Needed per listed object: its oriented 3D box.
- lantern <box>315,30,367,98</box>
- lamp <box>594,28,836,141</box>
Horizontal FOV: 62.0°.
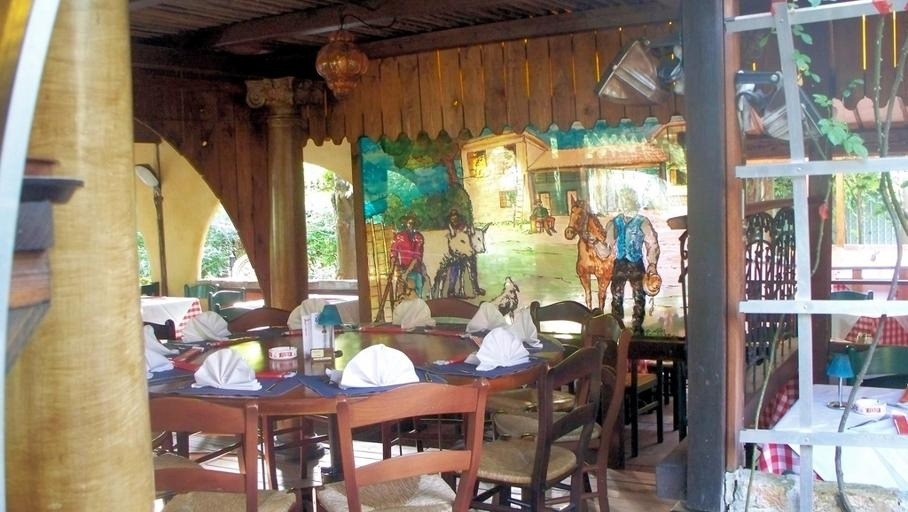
[{"bbox_3d":[-0.794,-1.365,5.317,0.407,0.442,0.398,0,8,-34],"label":"lantern"},{"bbox_3d":[1.141,-0.857,3.623,1.131,0.436,0.895,5,9,23],"label":"lamp"}]
